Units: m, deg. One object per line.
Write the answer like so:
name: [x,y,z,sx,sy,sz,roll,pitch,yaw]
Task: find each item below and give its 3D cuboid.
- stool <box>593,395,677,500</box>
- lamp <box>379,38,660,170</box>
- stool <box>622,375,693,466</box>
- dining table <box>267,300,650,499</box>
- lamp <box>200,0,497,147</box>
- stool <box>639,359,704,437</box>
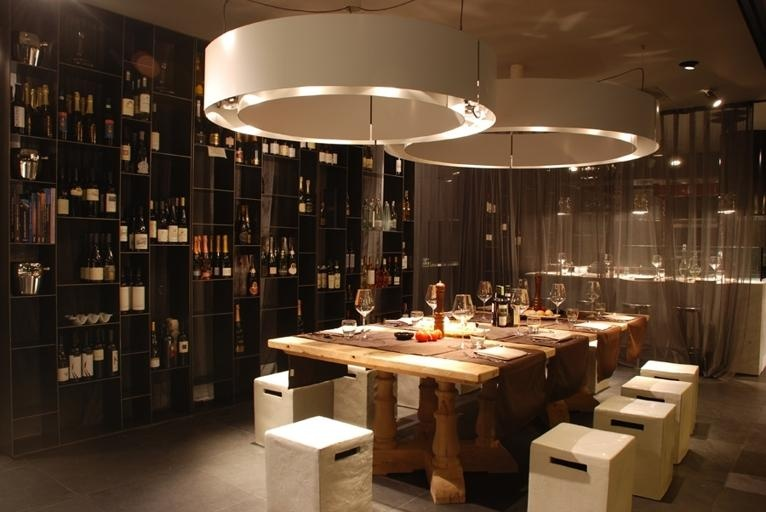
stool: [2.049,1.383,4.866,0.748,0.837,0.575,2,3,39]
lamp: [1.327,-1.049,4.916,1.315,0.588,1.308,0,2,-41]
stool: [2.515,1.425,5.319,0.596,0.664,0.607,0,1,42]
dining table: [0.376,1.253,4.799,1.359,0.860,1.932,-3,-4,38]
lamp: [-0.178,-1.236,4.394,2.011,0.543,2.019,-1,2,-38]
stool: [2.858,1.324,5.855,0.569,0.639,0.585,1,0,38]
